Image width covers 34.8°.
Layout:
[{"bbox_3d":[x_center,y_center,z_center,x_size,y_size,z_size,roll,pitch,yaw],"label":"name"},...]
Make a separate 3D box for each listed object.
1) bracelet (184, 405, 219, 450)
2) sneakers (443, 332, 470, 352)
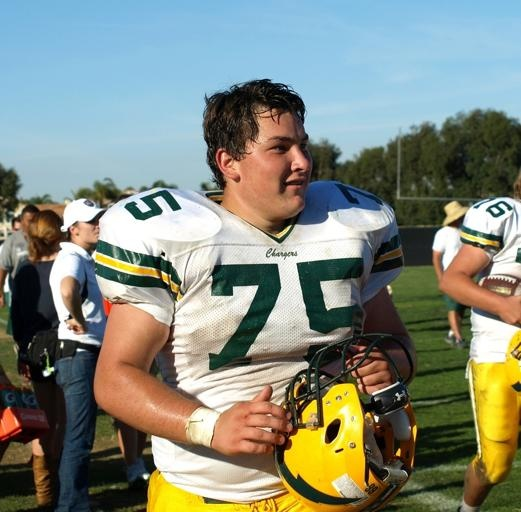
[{"bbox_3d":[-0.178,0.504,2.451,0.114,0.099,0.048,19,-2,24],"label":"bracelet"},{"bbox_3d":[2.056,0.898,8.671,0.110,0.104,0.293,5,11,-5],"label":"sneakers"}]
